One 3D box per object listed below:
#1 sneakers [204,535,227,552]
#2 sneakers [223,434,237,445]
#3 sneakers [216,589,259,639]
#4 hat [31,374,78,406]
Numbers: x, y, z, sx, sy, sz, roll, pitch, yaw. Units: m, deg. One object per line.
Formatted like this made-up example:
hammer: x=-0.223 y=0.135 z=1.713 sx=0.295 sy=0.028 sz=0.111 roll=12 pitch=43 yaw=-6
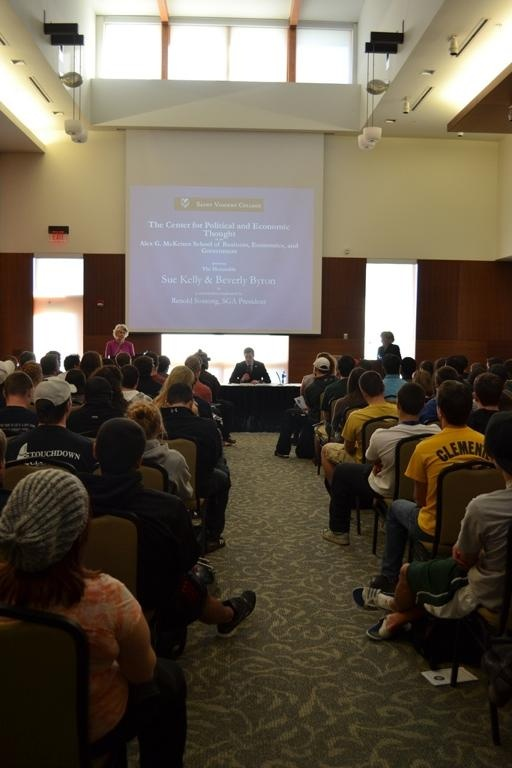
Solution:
sneakers: x=-0.271 y=1.042 z=3.623 sx=0.152 sy=0.060 sz=0.149 roll=-3 pitch=7 yaw=-23
sneakers: x=-0.362 y=0.806 z=8.014 sx=0.187 sy=0.189 sz=0.087 roll=-5 pitch=7 yaw=-28
sneakers: x=-0.076 y=1.036 z=2.582 sx=0.086 sy=0.107 sz=0.264 roll=8 pitch=21 yaw=16
hat: x=-0.920 y=0.028 z=2.558 sx=0.120 sy=0.072 sz=0.192 roll=3 pitch=22 yaw=-1
